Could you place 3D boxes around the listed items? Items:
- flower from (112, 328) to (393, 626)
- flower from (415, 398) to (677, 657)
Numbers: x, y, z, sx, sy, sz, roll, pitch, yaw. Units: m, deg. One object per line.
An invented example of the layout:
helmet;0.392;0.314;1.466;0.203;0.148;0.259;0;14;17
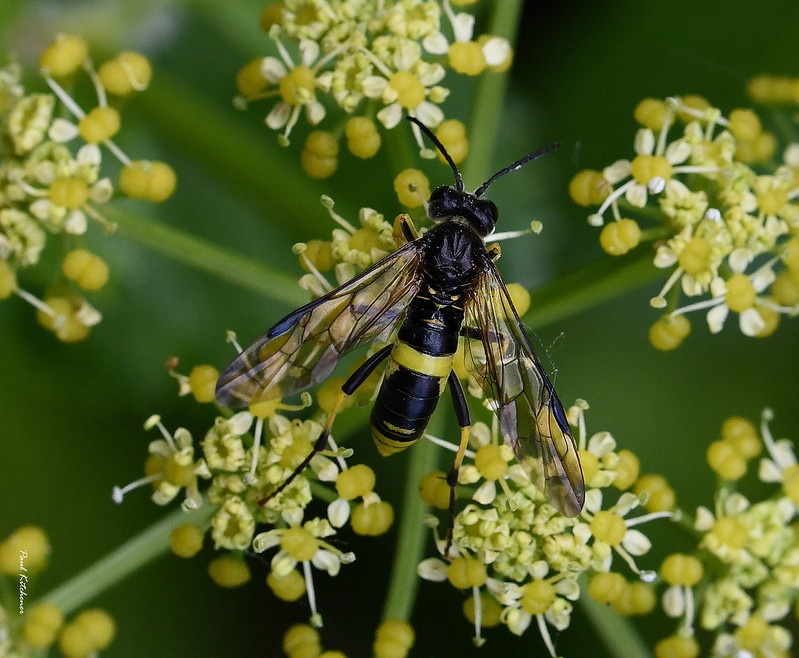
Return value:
flower;-0.248;0.279;1.635;0.454;0.532;0.147;-18;-2;-5
flower;0.257;0.392;1.769;0.386;0.494;0.138;-17;-7;2
